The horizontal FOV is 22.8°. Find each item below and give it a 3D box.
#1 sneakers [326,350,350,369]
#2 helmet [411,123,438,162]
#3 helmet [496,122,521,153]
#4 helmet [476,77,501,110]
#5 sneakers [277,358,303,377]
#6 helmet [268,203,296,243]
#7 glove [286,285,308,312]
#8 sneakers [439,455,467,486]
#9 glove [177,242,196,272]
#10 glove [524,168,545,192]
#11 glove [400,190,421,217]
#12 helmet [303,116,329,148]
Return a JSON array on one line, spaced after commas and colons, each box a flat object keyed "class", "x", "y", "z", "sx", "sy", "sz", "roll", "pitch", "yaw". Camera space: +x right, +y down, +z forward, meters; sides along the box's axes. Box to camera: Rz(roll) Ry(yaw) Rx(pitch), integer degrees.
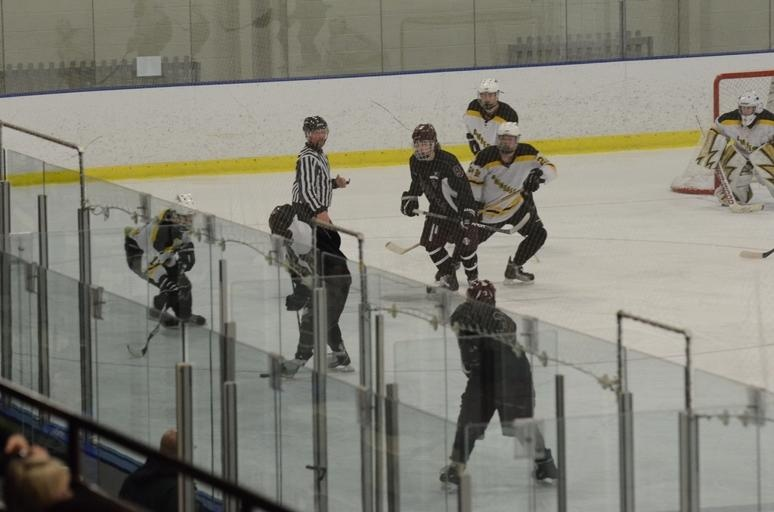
[{"class": "sneakers", "x": -0.408, "y": 0.847, "z": 15.444, "sx": 0.223, "sy": 0.148, "sz": 0.061, "roll": 1, "pitch": 3, "yaw": 41}, {"class": "helmet", "x": 0.479, "y": -1.165, "z": 19.604, "sx": 0.427, "sy": 0.336, "sz": 0.295, "roll": -5, "pitch": 15, "yaw": -1}, {"class": "helmet", "x": 1.250, "y": -1.230, "z": 19.884, "sx": 0.224, "sy": 0.315, "sz": 0.316, "roll": -1, "pitch": 2, "yaw": 2}, {"class": "helmet", "x": 1.079, "y": -1.726, "z": 20.460, "sx": 0.209, "sy": 0.336, "sz": 0.295, "roll": -1, "pitch": 2, "yaw": 0}, {"class": "sneakers", "x": -0.796, "y": 0.897, "z": 15.345, "sx": 0.182, "sy": 0.074, "sz": 0.128, "roll": -2, "pitch": 6, "yaw": -2}, {"class": "helmet", "x": -1.077, "y": -0.335, "z": 18.806, "sx": 0.293, "sy": 0.353, "sz": 0.160, "roll": 24, "pitch": -20, "yaw": -36}, {"class": "glove", "x": -0.757, "y": 0.350, "z": 15.626, "sx": 0.163, "sy": 0.209, "sz": 0.122, "roll": 8, "pitch": -1, "yaw": 2}, {"class": "sneakers", "x": 0.563, "y": 1.713, "z": 15.072, "sx": 0.118, "sy": 0.198, "sz": 0.327, "roll": -1, "pitch": 7, "yaw": -14}, {"class": "glove", "x": -1.697, "y": 0.001, "z": 15.919, "sx": 0.196, "sy": 0.220, "sz": 0.061, "roll": -1, "pitch": -3, "yaw": 11}, {"class": "glove", "x": 1.504, "y": -0.785, "z": 19.712, "sx": 0.174, "sy": 0.234, "sz": 0.199, "roll": -2, "pitch": 2, "yaw": -34}, {"class": "glove", "x": 0.218, "y": -0.535, "z": 19.616, "sx": 0.175, "sy": 0.242, "sz": 0.276, "roll": -1, "pitch": 2, "yaw": 0}, {"class": "helmet", "x": -0.716, "y": -1.245, "z": 19.170, "sx": 0.277, "sy": 0.272, "sz": 0.318, "roll": 0, "pitch": 9, "yaw": -28}]
